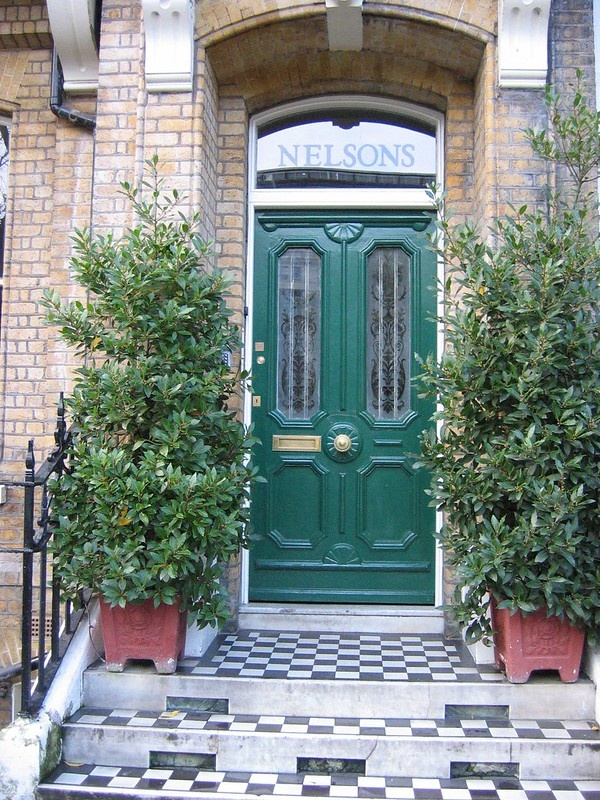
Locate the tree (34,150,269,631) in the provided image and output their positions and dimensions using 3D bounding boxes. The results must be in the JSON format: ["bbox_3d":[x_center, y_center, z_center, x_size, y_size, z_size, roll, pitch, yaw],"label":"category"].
[{"bbox_3d":[-0.663,-0.088,3.629,0.965,2.200,0.733,0,-3,-4],"label":"tree"}]

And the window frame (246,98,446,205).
[{"bbox_3d":[0.287,-1.419,4.636,0.959,0.577,0.052,0,-14,2],"label":"window frame"}]
